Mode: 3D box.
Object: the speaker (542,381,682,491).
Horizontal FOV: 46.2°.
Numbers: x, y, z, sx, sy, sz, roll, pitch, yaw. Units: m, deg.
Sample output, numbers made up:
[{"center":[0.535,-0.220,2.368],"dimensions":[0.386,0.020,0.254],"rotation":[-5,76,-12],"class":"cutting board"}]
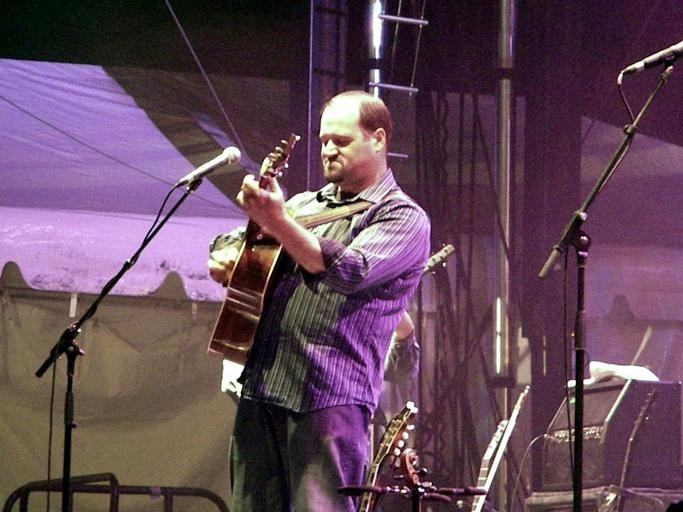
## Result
[{"center":[1.763,1.141,5.190],"dimensions":[0.750,0.753,0.739],"rotation":[11,-19,-23],"class":"speaker"}]
